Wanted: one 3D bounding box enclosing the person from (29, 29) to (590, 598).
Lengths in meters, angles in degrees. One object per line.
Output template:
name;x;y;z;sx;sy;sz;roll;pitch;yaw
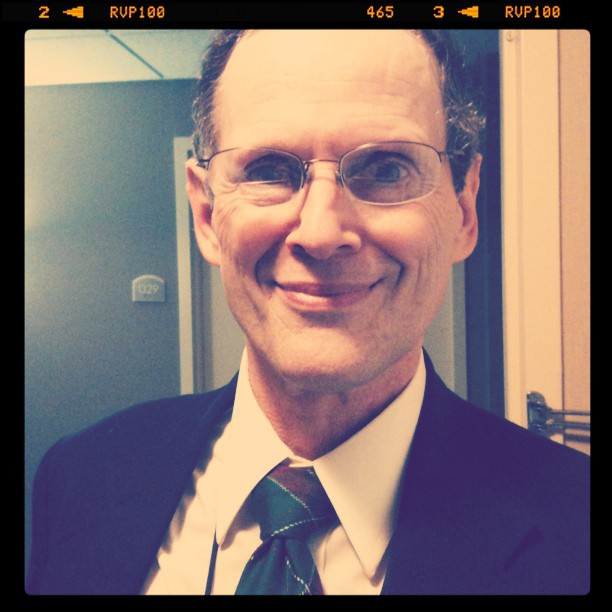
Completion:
person;0.007;0.047;1.937;1.334;1.396;0.411;-5;15;-3
